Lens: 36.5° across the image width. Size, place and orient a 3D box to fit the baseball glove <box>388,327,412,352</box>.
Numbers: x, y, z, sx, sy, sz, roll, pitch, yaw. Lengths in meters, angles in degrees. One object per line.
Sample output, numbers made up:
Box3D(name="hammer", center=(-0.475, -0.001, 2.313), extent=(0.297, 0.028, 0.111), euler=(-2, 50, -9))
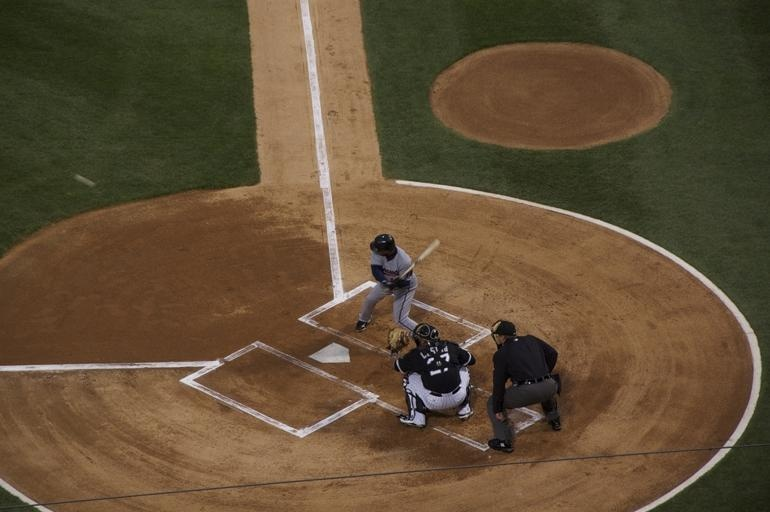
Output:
Box3D(name="baseball glove", center=(0.275, 1.963, 27.450), extent=(0.576, 0.583, 0.504), euler=(-9, 53, 25))

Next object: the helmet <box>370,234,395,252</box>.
Box3D(name="helmet", center=(-0.022, -0.315, 27.343), extent=(0.570, 0.501, 0.457), euler=(3, 81, 4))

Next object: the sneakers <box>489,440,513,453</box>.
Box3D(name="sneakers", center=(2.620, 4.241, 26.258), extent=(0.711, 0.279, 0.171), euler=(6, 87, 8))
